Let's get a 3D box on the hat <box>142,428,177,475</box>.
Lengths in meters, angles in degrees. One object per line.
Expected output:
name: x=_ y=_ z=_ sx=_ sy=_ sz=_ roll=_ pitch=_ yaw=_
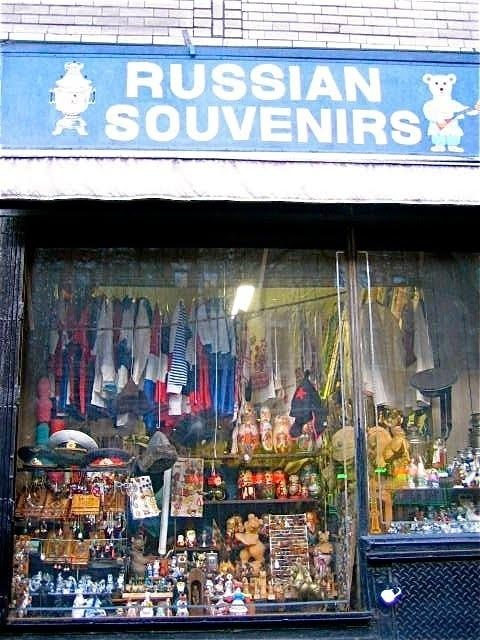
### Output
hat: x=-0.548 y=0.891 z=5.266 sx=0.246 sy=0.266 sz=0.064 roll=0 pitch=-9 yaw=-8

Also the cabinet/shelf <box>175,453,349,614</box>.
cabinet/shelf: x=0.145 y=1.388 z=5.193 sx=1.191 sy=0.984 sz=0.324 roll=-4 pitch=-9 yaw=10

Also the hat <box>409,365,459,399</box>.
hat: x=1.386 y=0.441 z=5.608 sx=0.383 sy=0.221 sz=0.094 roll=4 pitch=-11 yaw=-29

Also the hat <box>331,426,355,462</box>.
hat: x=0.676 y=0.829 z=5.248 sx=0.129 sy=0.235 sz=0.154 roll=15 pitch=7 yaw=-4

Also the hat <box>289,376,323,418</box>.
hat: x=0.452 y=0.511 z=5.517 sx=0.252 sy=0.432 sz=0.201 roll=-2 pitch=-1 yaw=33

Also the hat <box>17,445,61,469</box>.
hat: x=-1.307 y=0.902 z=5.074 sx=0.147 sy=0.074 sz=0.156 roll=17 pitch=-17 yaw=-7
